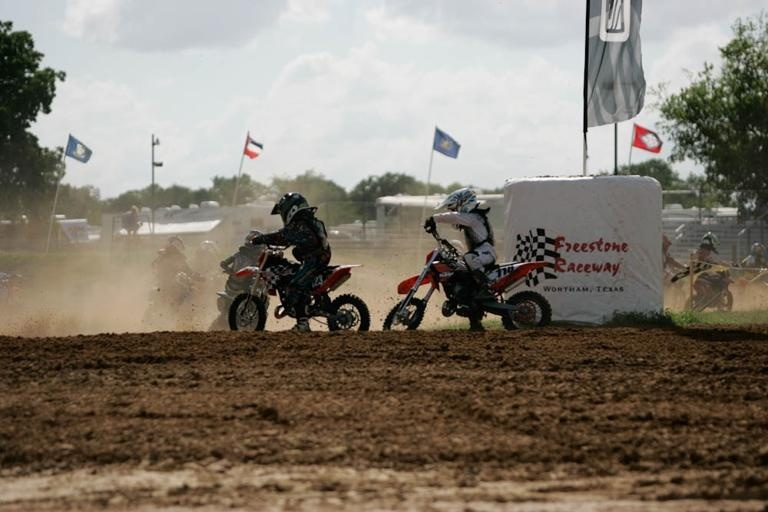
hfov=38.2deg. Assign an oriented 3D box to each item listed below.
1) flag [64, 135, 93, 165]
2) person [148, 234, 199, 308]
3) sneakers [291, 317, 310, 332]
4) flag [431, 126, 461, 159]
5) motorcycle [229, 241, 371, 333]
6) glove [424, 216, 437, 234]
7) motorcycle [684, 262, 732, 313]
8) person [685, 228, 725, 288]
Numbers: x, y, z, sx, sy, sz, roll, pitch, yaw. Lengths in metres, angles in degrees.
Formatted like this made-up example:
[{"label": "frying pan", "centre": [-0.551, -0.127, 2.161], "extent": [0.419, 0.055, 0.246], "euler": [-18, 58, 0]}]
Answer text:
[{"label": "flag", "centre": [-9.988, -3.479, 36.207], "extent": [0.744, 0.912, 1.328], "euler": [-1, -2, -18]}, {"label": "person", "centre": [-4.970, 0.383, 26.083], "extent": [0.966, 1.699, 0.712], "euler": [-2, -2, -13]}, {"label": "sneakers", "centre": [-1.465, 1.220, 19.572], "extent": [0.260, 0.255, 0.209], "euler": [4, -18, -3]}, {"label": "flag", "centre": [1.830, -3.405, 33.042], "extent": [0.834, 0.902, 0.078], "euler": [13, -28, -11]}, {"label": "motorcycle", "centre": [-1.564, 0.642, 19.942], "extent": [2.773, 1.782, 1.146], "euler": [1, -3, 12]}, {"label": "glove", "centre": [0.833, -0.557, 19.742], "extent": [0.204, 0.275, 0.244], "euler": [-8, -10, -6]}, {"label": "motorcycle", "centre": [7.447, 0.731, 25.528], "extent": [0.973, 1.058, 2.830], "euler": [-3, -2, 18]}, {"label": "person", "centre": [7.784, 0.060, 26.946], "extent": [1.534, 1.446, 0.508], "euler": [11, -2, -30]}]
